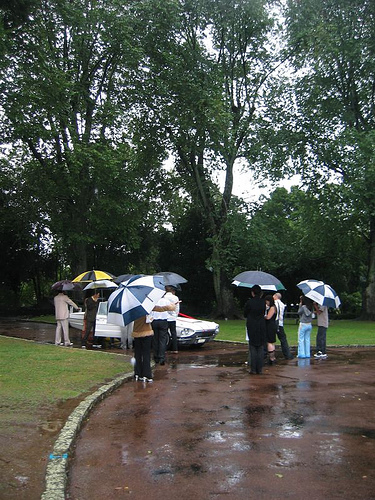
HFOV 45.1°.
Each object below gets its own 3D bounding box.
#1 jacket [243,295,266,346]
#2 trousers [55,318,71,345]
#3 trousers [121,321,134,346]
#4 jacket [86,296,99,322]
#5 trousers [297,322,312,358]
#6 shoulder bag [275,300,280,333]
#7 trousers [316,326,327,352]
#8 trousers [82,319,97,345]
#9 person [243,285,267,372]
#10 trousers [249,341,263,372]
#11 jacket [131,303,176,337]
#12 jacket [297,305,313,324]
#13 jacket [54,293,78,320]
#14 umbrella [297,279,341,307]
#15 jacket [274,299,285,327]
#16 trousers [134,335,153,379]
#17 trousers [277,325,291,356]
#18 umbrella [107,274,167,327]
[{"bbox_3d":[1.434,1.511,9.728,0.469,1.064,0.446,-1,-4,6],"label":"jacket"},{"bbox_3d":[-4.000,2.625,14.512,0.423,0.849,0.505,0,-4,-16],"label":"trousers"},{"bbox_3d":[-1.931,2.676,14.248,0.342,0.768,0.689,0,-4,-8],"label":"trousers"},{"bbox_3d":[-3.055,1.915,14.553,0.430,0.796,0.354,2,-4,-32],"label":"jacket"},{"bbox_3d":[3.102,2.411,12.079,0.337,1.000,0.711,-1,-4,13],"label":"trousers"},{"bbox_3d":[2.293,1.815,11.539,0.095,0.613,0.364,-2,-4,14],"label":"shoulder bag"},{"bbox_3d":[3.643,2.429,12.360,0.234,0.712,0.255,-2,-4,16],"label":"trousers"},{"bbox_3d":[-3.202,2.661,14.690,0.420,0.846,1.032,-1,-4,3],"label":"trousers"},{"bbox_3d":[1.473,1.685,9.737,0.472,1.860,0.442,2,-4,-31],"label":"person"},{"bbox_3d":[1.457,2.287,9.624,0.267,0.598,0.102,-1,-4,3],"label":"trousers"},{"bbox_3d":[-0.783,1.410,9.075,0.575,0.598,0.833,-1,-4,3],"label":"jacket"},{"bbox_3d":[3.112,1.699,12.002,0.362,0.478,0.406,-2,-4,14],"label":"jacket"},{"bbox_3d":[-3.931,1.816,14.534,0.627,0.844,0.485,0,-4,-7],"label":"jacket"},{"bbox_3d":[3.270,1.013,11.441,0.894,0.308,0.812,1,31,-29],"label":"umbrella"},{"bbox_3d":[2.405,1.631,11.681,0.320,0.639,0.509,8,-2,14],"label":"jacket"},{"bbox_3d":[-0.888,2.100,8.889,0.327,0.867,0.416,0,-4,-7],"label":"trousers"},{"bbox_3d":[2.551,2.433,12.049,0.329,0.956,1.196,-1,-4,12],"label":"trousers"},{"bbox_3d":[-0.920,0.909,8.180,1.001,0.905,0.728,1,-4,-20],"label":"umbrella"}]
